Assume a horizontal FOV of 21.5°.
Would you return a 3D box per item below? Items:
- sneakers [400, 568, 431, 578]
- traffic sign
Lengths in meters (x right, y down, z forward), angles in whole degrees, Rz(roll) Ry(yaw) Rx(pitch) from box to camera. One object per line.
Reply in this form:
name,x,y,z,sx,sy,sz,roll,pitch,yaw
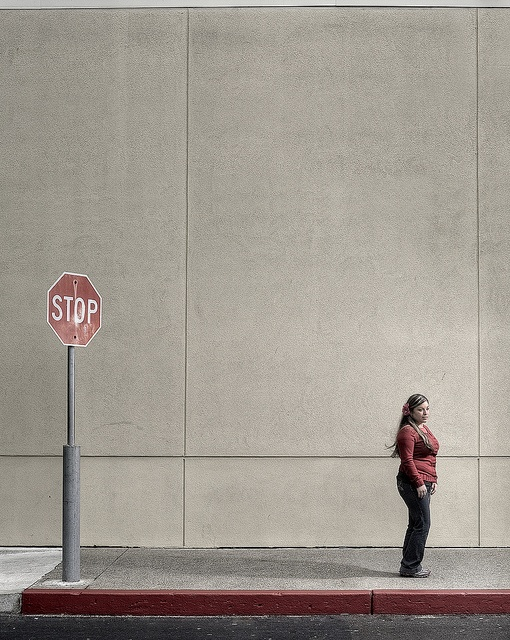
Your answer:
sneakers,1.577,2.437,12.984,0.258,0.107,0.127,-5,-83,4
traffic sign,-1.772,-0.068,13.066,0.046,0.914,0.796,-5,-2,39
